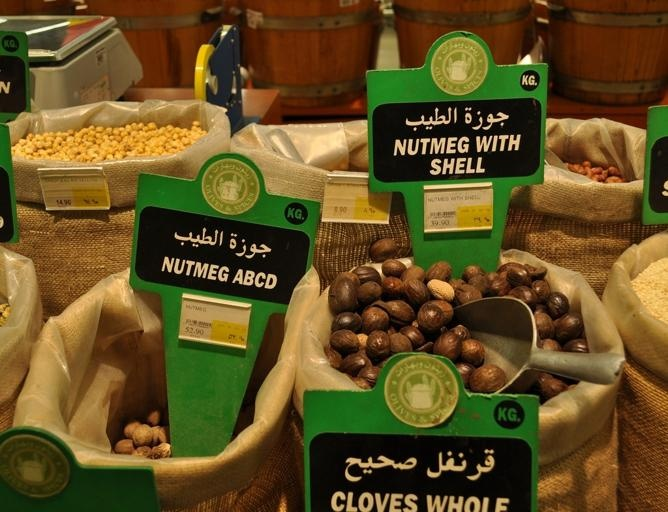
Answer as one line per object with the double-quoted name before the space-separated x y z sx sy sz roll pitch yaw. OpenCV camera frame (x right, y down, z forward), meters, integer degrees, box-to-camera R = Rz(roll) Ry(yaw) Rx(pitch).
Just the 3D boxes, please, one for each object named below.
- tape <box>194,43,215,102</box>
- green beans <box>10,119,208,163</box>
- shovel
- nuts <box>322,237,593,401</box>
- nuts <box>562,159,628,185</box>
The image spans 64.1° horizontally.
"tape" -0.391 -0.558 1.616 0.032 0.136 0.131 5 36 13
"green beans" -0.643 -0.319 1.507 0.508 0.062 0.340 2 38 8
"shovel" 0.346 0.190 0.987 0.335 0.064 0.231 0 45 45
"nuts" 0.236 0.048 1.156 0.459 0.284 0.358 -14 24 -24
"nuts" 0.740 -0.244 1.514 0.161 0.049 0.133 15 41 22
